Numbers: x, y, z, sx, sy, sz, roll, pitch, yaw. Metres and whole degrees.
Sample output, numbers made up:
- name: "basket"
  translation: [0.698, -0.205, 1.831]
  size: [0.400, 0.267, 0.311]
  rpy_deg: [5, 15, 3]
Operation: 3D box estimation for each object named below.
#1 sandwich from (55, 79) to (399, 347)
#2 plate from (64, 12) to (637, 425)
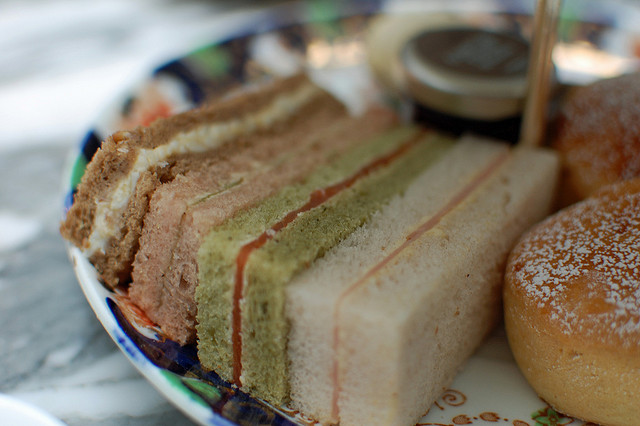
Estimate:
- name: "sandwich"
  translation: [-0.150, -0.120, 1.289]
  size: [0.389, 0.255, 0.692]
  rpy_deg: [30, 47, 20]
- name: "plate"
  translation: [0.041, -0.035, 1.233]
  size: [1.095, 0.346, 0.924]
  rpy_deg: [4, 61, 12]
